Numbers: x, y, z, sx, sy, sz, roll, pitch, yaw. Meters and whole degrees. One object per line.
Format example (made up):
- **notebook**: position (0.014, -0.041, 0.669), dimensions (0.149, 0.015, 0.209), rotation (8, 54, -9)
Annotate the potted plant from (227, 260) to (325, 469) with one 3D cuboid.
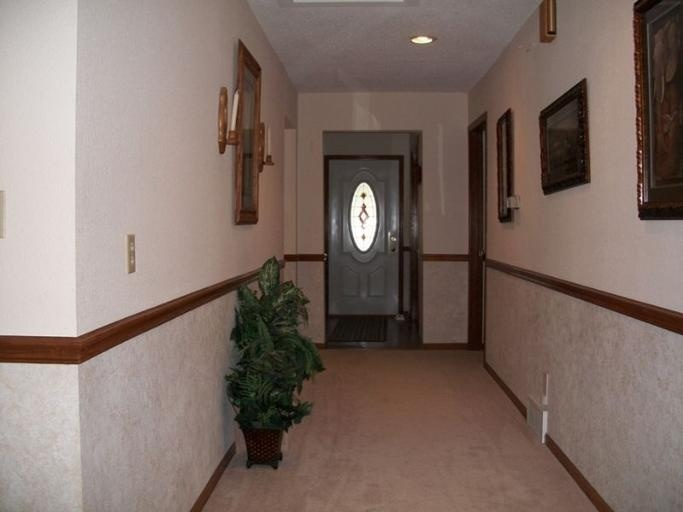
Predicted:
- **potted plant**: position (-0.428, 0.683, 3.240), dimensions (0.606, 1.343, 0.704), rotation (-1, 4, -13)
